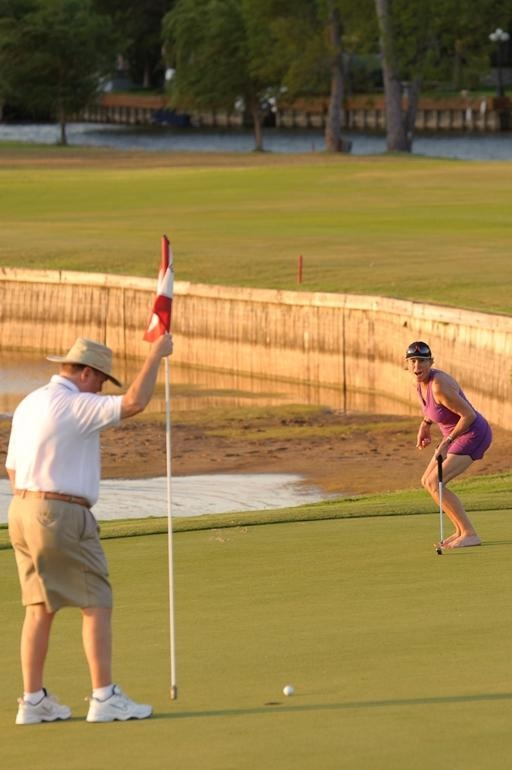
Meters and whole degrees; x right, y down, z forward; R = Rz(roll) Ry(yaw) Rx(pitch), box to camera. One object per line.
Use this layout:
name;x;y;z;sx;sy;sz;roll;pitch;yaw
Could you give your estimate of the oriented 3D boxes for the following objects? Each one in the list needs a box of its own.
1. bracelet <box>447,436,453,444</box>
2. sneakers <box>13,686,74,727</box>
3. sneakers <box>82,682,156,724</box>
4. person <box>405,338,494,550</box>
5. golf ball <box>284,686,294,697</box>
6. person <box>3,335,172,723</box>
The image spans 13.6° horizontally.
bracelet;1.173;0.346;13.243;0.027;0.015;0.035;8;26;42
sneakers;-0.946;1.468;9.791;0.259;0.173;0.111;-3;6;-28
sneakers;-0.608;1.456;9.797;0.293;0.219;0.136;0;3;-8
person;1.170;0.352;13.332;0.398;1.360;0.429;-8;12;-11
golf ball;0.144;1.408;9.891;0.048;0.038;0.084;0;6;1
person;-0.805;0.649;9.993;0.657;1.692;0.816;0;5;-7
